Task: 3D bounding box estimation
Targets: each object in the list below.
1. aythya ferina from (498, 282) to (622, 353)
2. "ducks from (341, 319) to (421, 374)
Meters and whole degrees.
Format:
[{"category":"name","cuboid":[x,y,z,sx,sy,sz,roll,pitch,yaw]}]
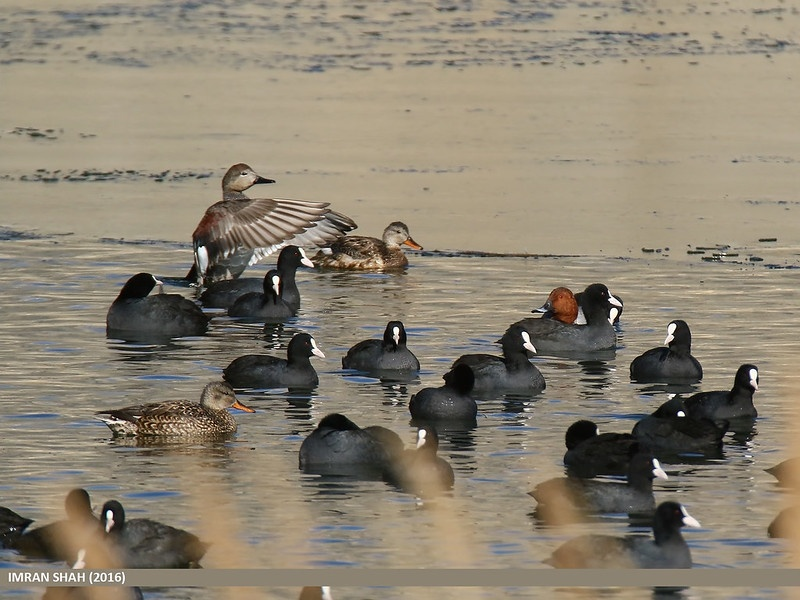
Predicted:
[{"category":"aythya ferina","cuboid":[4.213,0.347,33.300,3.450,1.561,2.740,3,11,11]},{"category":"\"ducks","cuboid":[-0.303,1.050,29.931,2.075,1.069,2.031,-1,10,-7]}]
